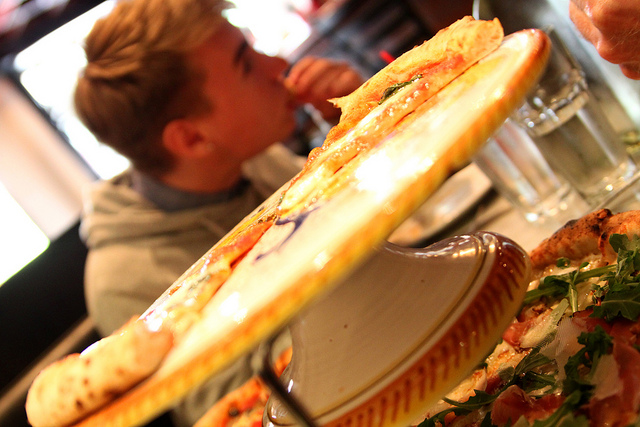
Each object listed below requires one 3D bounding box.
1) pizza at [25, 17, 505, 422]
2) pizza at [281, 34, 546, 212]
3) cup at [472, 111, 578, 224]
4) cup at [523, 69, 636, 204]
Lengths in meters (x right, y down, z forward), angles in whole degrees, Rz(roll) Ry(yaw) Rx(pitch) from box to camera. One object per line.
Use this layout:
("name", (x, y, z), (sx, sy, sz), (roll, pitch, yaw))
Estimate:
("pizza", (-0.122, 0.047, 0.747), (0.610, 0.032, 0.583), (-39, 1, -22))
("pizza", (0.179, -0.093, 0.705), (0.441, 0.051, 0.098), (-42, -14, -26))
("cup", (0.426, -0.093, 1.129), (0.119, 0.183, 0.120), (-40, -9, -8))
("cup", (0.517, -0.158, 1.093), (0.148, 0.245, 0.161), (-43, 5, 5))
